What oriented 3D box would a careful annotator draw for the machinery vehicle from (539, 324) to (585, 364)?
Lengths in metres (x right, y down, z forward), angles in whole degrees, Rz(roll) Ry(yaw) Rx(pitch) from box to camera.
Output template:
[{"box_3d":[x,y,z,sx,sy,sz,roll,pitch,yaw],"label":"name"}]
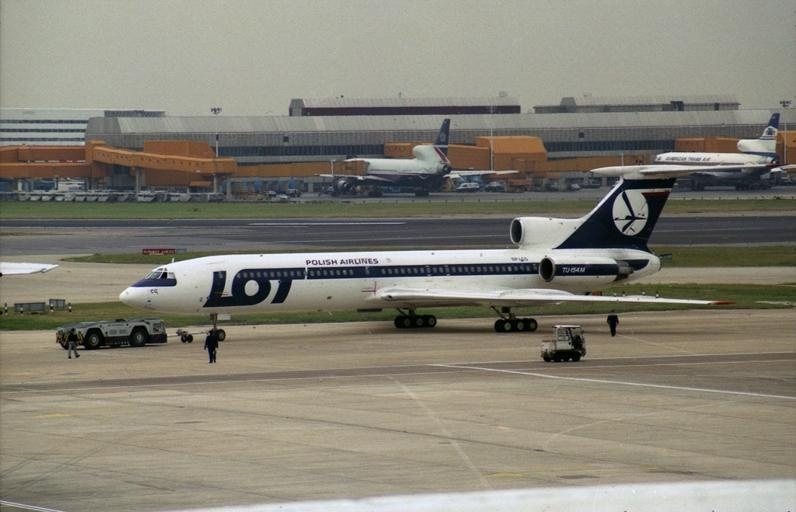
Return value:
[{"box_3d":[8.105,4.279,68.784,2.042,1.738,1.978,-1,0,8],"label":"machinery vehicle"}]
